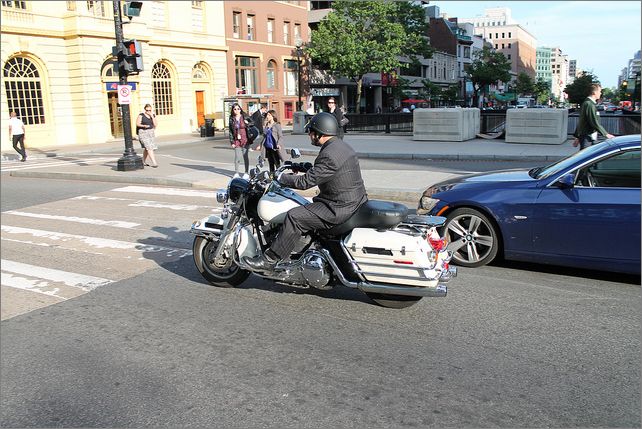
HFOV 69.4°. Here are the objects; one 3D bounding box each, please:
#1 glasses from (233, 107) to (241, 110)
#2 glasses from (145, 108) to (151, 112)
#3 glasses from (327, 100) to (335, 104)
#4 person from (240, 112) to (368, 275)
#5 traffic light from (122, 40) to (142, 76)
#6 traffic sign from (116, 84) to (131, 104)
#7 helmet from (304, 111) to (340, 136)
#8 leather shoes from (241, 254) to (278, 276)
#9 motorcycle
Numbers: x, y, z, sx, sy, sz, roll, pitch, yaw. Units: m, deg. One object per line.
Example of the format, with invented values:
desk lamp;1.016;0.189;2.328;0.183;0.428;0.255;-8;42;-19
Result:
glasses;-2.662;-3.348;14.451;0.233;0.139;0.253;-2;11;-10
glasses;-6.107;-3.696;16.274;0.170;0.086;0.157;-4;11;-18
glasses;0.299;-3.582;14.590;0.162;0.103;0.271;0;11;2
person;-0.109;-0.240;5.503;1.291;1.912;0.466;0;12;4
traffic light;-6.724;-5.647;16.411;0.628;1.126;0.959;-5;12;-21
traffic sign;-7.146;-4.384;16.746;0.401;0.743;0.357;-5;13;-20
helmet;0.000;-1.101;5.498;0.374;0.173;0.263;16;22;14
leather shoes;-0.746;0.598;5.637;0.536;0.197;0.176;9;30;-1
motorcycle;-0.103;0.217;5.798;3.537;1.614;1.291;4;9;21
